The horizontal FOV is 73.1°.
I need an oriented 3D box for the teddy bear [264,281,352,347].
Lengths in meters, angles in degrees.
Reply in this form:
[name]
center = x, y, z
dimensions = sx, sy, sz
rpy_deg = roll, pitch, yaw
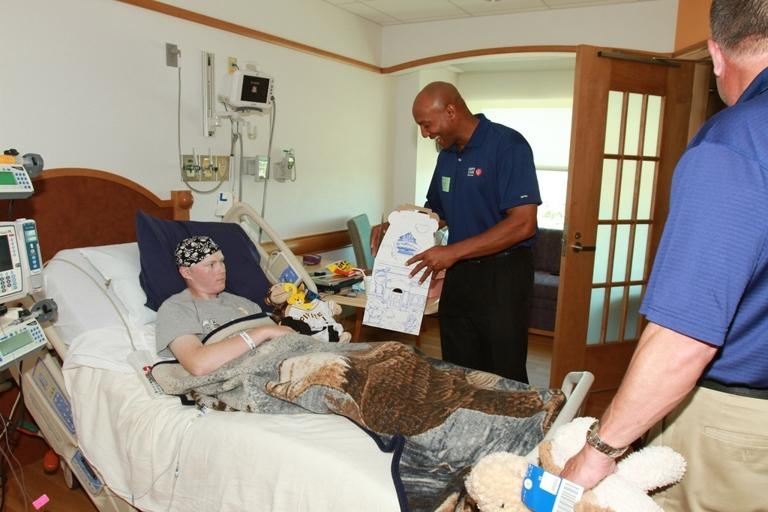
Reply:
[teddy bear]
center = -0.399, 0.222, 2.914
dimensions = 0.455, 0.292, 0.139
rpy_deg = 17, -19, -30

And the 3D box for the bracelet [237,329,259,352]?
[bracelet]
center = -0.636, 0.395, 2.441
dimensions = 0.030, 0.081, 0.065
rpy_deg = -36, -6, -24

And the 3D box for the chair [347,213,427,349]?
[chair]
center = 0.087, 0.089, 2.831
dimensions = 0.339, 0.674, 0.666
rpy_deg = 14, 14, 5

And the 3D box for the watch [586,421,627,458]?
[watch]
center = 0.573, 0.487, 1.376
dimensions = 0.093, 0.035, 0.094
rpy_deg = 21, 23, -11

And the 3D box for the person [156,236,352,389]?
[person]
center = -0.664, 0.198, 2.580
dimensions = 0.860, 0.549, 0.685
rpy_deg = 3, 6, 20

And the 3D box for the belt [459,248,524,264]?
[belt]
center = 0.571, -0.008, 2.647
dimensions = 0.322, 0.066, 0.058
rpy_deg = -2, 13, 4
